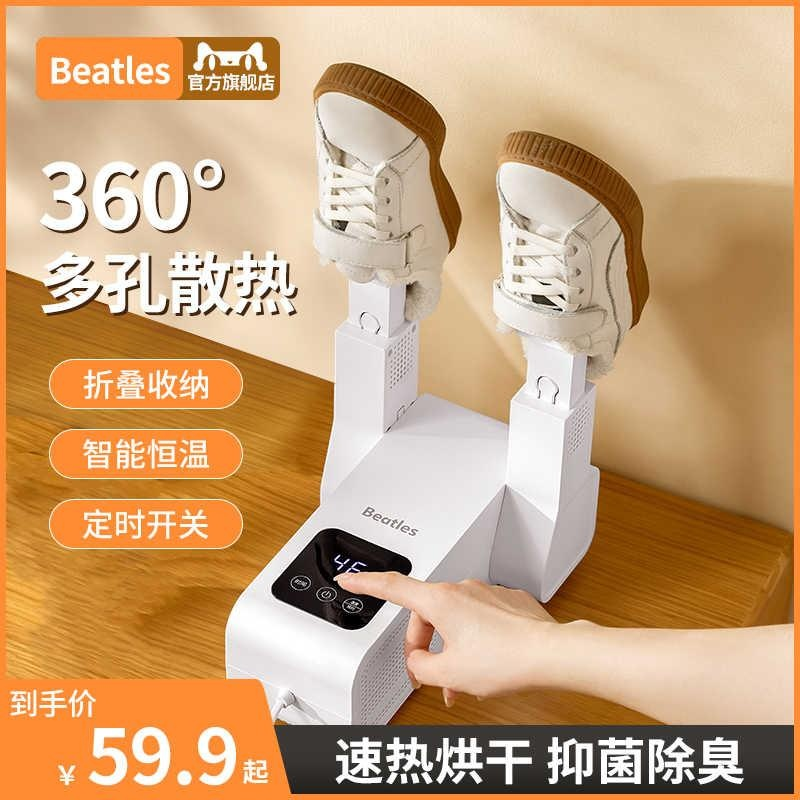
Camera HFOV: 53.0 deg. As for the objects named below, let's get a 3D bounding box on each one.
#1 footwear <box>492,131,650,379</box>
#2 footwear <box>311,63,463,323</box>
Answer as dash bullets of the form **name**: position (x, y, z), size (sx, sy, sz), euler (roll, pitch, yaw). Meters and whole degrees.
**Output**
- **footwear**: position (0.168, -0.124, 0.762), size (0.112, 0.104, 0.248), euler (22, -11, 23)
- **footwear**: position (-0.006, -0.219, 0.805), size (0.166, 0.202, 0.137), euler (2, 9, -11)
